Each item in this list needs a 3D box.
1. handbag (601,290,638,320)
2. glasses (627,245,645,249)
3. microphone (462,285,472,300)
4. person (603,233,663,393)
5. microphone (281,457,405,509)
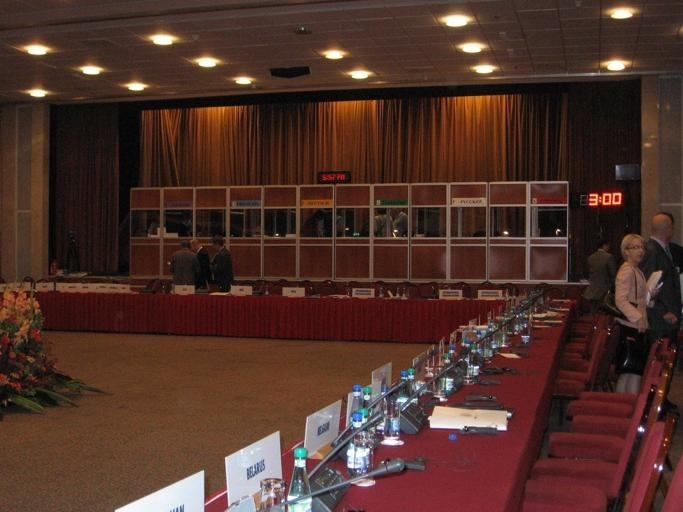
[{"bbox_3d":[2.452,0.498,5.464,0.302,0.123,0.308,19,28,14],"label":"handbag"},{"bbox_3d":[2.510,-0.075,5.139,0.105,0.034,0.035,0,2,-8],"label":"glasses"},{"bbox_3d":[2.343,0.678,11.379,0.253,0.283,0.259,2,4,11],"label":"microphone"},{"bbox_3d":[2.478,0.479,5.155,0.266,1.324,0.398,1,2,27],"label":"person"},{"bbox_3d":[0.013,0.828,2.197,0.522,0.084,0.079,-17,41,4],"label":"microphone"}]
